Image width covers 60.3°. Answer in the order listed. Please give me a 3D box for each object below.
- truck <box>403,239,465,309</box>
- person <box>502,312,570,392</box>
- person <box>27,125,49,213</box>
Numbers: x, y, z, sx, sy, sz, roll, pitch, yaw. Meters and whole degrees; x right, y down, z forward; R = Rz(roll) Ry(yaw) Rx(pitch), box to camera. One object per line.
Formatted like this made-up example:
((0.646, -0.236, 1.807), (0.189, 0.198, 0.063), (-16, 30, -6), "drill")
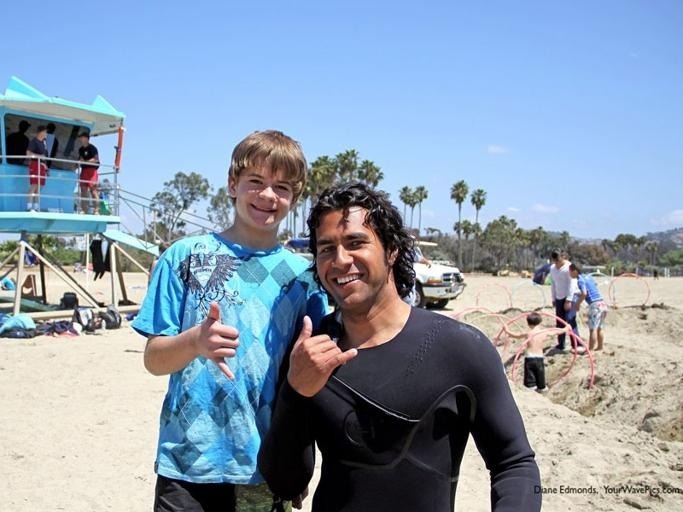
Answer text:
((2.401, 0.740, 19.368), (1.922, 2.174, 3.340), (1, -3, -36), "truck")
((3.519, 1.701, 10.589), (1.040, 1.514, 0.488), (-1, 20, 20), "person")
((-7.997, -2.325, 15.447), (0.519, 2.249, 1.443), (-2, 5, -27), "person")
